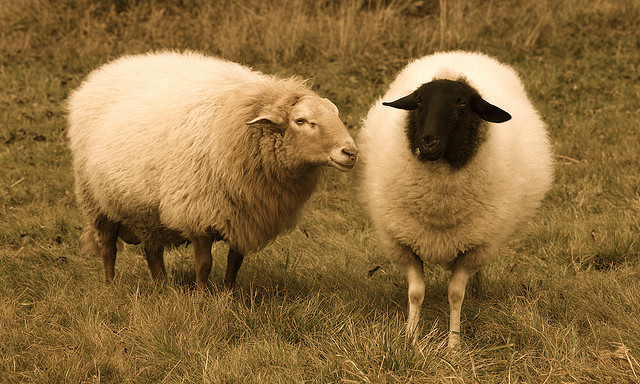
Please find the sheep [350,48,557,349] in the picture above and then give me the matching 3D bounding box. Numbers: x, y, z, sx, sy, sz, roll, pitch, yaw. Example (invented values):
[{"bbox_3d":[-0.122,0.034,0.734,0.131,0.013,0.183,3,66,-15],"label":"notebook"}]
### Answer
[{"bbox_3d":[1.809,0.010,11.150,2.641,3.450,2.400,5,23,2],"label":"sheep"}]
